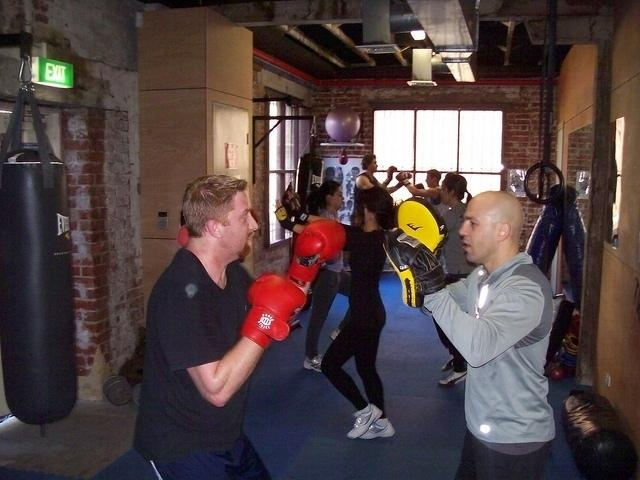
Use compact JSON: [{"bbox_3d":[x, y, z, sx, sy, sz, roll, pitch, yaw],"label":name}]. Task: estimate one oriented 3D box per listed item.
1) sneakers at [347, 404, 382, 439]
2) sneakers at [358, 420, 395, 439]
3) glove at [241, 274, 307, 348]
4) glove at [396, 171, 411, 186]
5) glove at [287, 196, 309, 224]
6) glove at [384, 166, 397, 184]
[{"bbox_3d":[0.347,1.472,4.035,0.194,0.417,0.145,24,25,-15],"label":"sneakers"},{"bbox_3d":[0.489,1.545,4.050,0.335,0.136,0.121,-1,-3,-20],"label":"sneakers"},{"bbox_3d":[-0.197,0.305,2.141,0.269,0.267,0.265,0,9,-2],"label":"glove"},{"bbox_3d":[1.415,-0.986,8.368,0.133,0.230,0.304,19,-38,-23],"label":"glove"},{"bbox_3d":[-0.222,-0.289,4.779,0.111,0.270,0.204,-21,-9,-8],"label":"glove"},{"bbox_3d":[1.308,-1.124,8.665,0.124,0.370,0.282,22,-5,-12],"label":"glove"}]
